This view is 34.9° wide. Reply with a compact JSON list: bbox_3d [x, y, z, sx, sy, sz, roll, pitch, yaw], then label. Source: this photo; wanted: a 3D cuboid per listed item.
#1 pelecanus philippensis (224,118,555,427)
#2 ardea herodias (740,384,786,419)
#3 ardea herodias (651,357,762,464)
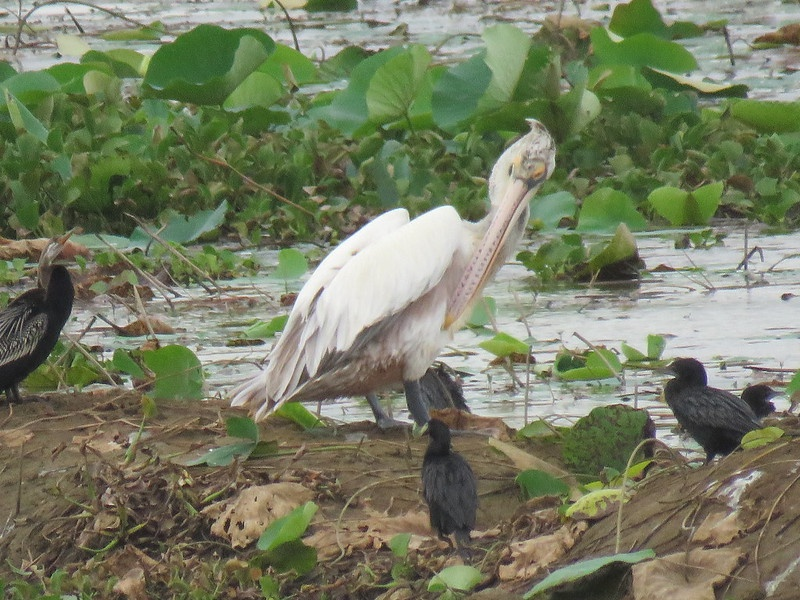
[{"bbox_3d":[0.176,-0.297,8.109,2.493,2.155,1.134,-7,12,-16],"label":"pelecanus philippensis"},{"bbox_3d":[1.935,0.528,6.811,0.239,0.158,0.123,-10,19,-7],"label":"ardea herodias"},{"bbox_3d":[1.522,0.510,6.304,0.637,0.496,0.298,2,-11,29],"label":"ardea herodias"}]
